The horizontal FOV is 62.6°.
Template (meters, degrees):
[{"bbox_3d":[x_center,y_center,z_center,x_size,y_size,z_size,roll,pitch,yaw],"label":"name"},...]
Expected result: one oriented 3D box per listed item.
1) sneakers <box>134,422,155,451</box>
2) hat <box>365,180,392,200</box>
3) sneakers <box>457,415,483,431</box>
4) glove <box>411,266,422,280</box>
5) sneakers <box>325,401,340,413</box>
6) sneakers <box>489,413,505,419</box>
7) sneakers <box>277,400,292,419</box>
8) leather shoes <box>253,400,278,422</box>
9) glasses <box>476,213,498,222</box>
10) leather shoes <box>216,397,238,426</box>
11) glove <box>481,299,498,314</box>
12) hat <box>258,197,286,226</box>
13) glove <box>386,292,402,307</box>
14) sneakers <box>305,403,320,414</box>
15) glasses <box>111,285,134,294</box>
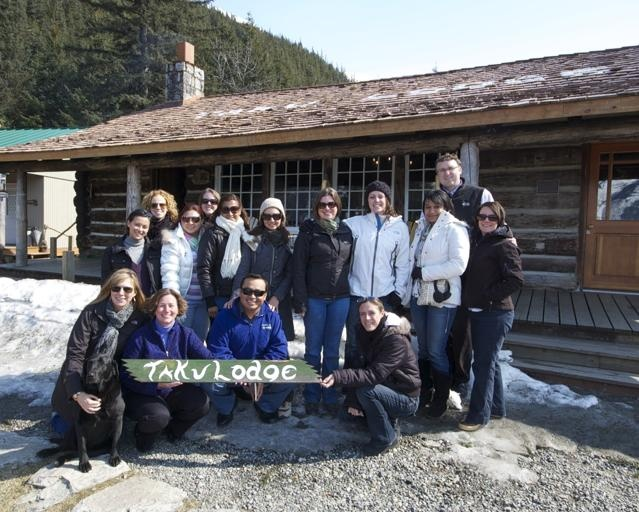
[{"bbox_3d":[-1.512,1.557,4.555,0.202,0.260,0.118,-1,7,1],"label":"sneakers"},{"bbox_3d":[0.608,-0.679,5.297,0.235,0.163,0.234,-3,-34,39],"label":"hat"},{"bbox_3d":[1.377,1.558,4.849,0.246,0.092,0.099,3,-11,-6],"label":"sneakers"},{"bbox_3d":[0.911,0.157,4.981,0.098,0.098,0.104,19,-1,32],"label":"glove"},{"bbox_3d":[0.112,1.485,5.145,0.154,0.087,0.127,-1,6,3],"label":"sneakers"},{"bbox_3d":[1.693,1.539,5.032,0.145,0.041,0.042,-1,6,-2],"label":"sneakers"},{"bbox_3d":[-0.331,1.488,5.101,0.113,0.041,0.136,19,28,-3],"label":"sneakers"},{"bbox_3d":[-0.511,1.505,5.038,0.126,0.116,0.288,2,-7,-23],"label":"leather shoes"},{"bbox_3d":[1.514,-0.348,4.759,0.162,0.069,0.040,1,7,17],"label":"glasses"},{"bbox_3d":[-0.897,1.459,5.073,0.193,0.238,0.349,-2,6,-10],"label":"leather shoes"},{"bbox_3d":[1.508,0.449,4.739,0.120,0.115,0.030,3,8,34],"label":"glove"},{"bbox_3d":[-0.473,-0.505,5.430,0.405,0.371,0.422,1,8,-3],"label":"hat"},{"bbox_3d":[0.714,0.417,5.038,0.108,0.078,0.133,14,-7,1],"label":"glove"},{"bbox_3d":[-0.074,1.487,5.151,0.140,0.089,0.136,-1,6,0],"label":"sneakers"},{"bbox_3d":[-1.723,0.296,4.608,0.169,0.068,0.042,-2,6,-12],"label":"glasses"}]
